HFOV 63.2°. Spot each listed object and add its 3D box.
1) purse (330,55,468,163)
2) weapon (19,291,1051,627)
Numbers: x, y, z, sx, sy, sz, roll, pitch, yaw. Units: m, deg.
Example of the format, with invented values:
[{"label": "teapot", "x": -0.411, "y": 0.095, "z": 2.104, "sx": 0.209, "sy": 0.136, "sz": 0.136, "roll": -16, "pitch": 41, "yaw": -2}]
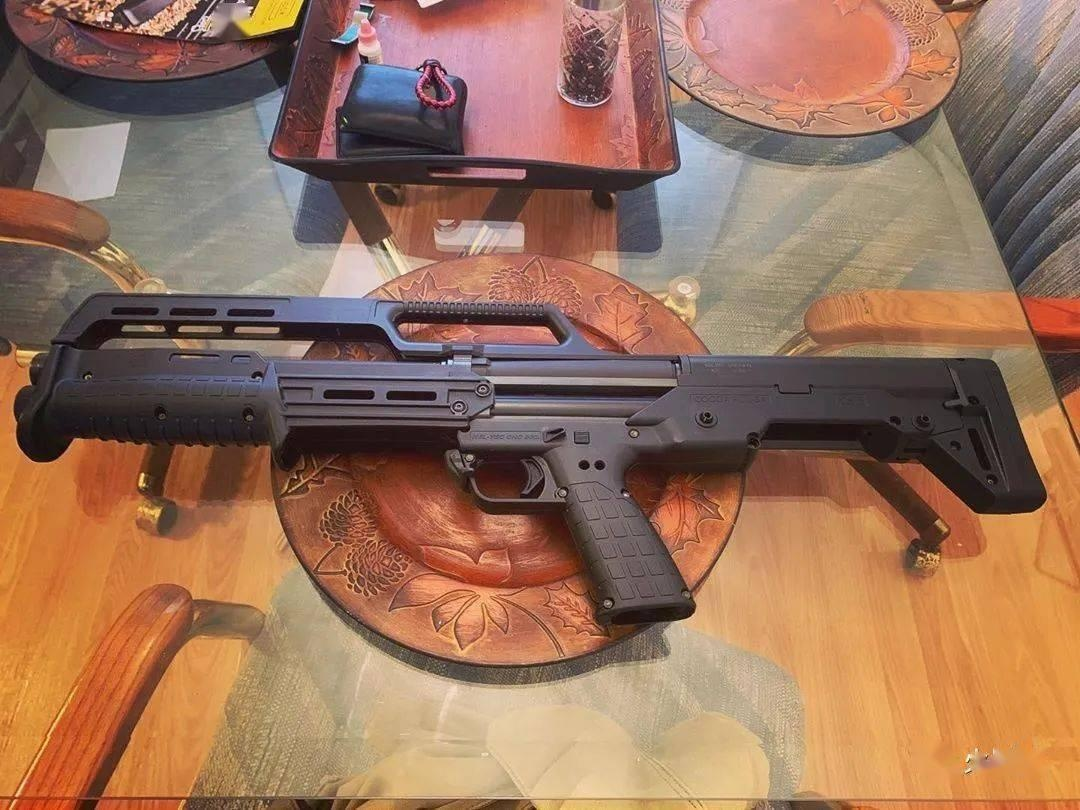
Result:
[{"label": "purse", "x": -0.252, "y": -0.558, "z": 1.566, "sx": 0.234, "sy": 0.063, "sz": 0.154, "roll": 13, "pitch": 87, "yaw": 21}, {"label": "weapon", "x": -0.024, "y": 0.068, "z": 1.448, "sx": 1.623, "sy": 0.187, "sz": 0.441, "roll": 1, "pitch": 90, "yaw": -1}]
